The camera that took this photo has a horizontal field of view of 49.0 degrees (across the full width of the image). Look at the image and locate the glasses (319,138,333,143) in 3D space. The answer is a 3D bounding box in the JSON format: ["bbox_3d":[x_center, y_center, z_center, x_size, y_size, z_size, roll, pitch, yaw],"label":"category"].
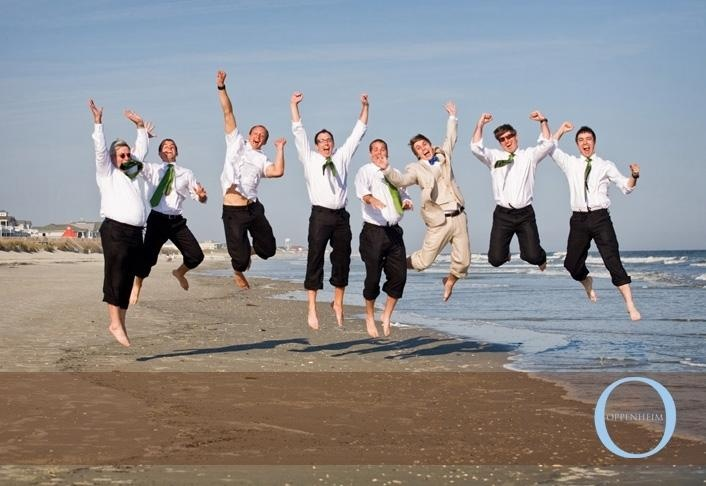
[{"bbox_3d":[-0.382,-1.422,10.810,0.186,0.077,0.091,0,2,-12],"label":"glasses"}]

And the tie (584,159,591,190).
[{"bbox_3d":[3.327,-0.982,11.035,0.092,0.433,0.134,1,2,21],"label":"tie"}]

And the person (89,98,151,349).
[{"bbox_3d":[-3.193,-0.222,10.520,0.737,3.283,0.646,0,2,-26],"label":"person"}]

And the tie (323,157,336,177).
[{"bbox_3d":[-0.329,-1.049,10.728,0.181,0.250,0.120,0,2,-3],"label":"tie"}]

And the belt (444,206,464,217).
[{"bbox_3d":[1.412,-0.435,10.927,0.287,0.146,0.086,-1,2,-26],"label":"belt"}]

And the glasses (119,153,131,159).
[{"bbox_3d":[-3.081,-1.167,10.501,0.087,0.081,0.029,-2,8,-4],"label":"glasses"}]

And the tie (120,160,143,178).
[{"bbox_3d":[-3.006,-1.002,10.540,0.236,0.094,0.246,31,11,-32],"label":"tie"}]

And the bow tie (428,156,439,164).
[{"bbox_3d":[1.122,-1.146,10.915,0.113,0.037,0.111,-29,27,4],"label":"bow tie"}]

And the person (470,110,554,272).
[{"bbox_3d":[2.284,-0.756,11.205,1.127,2.193,0.556,1,2,10],"label":"person"}]
